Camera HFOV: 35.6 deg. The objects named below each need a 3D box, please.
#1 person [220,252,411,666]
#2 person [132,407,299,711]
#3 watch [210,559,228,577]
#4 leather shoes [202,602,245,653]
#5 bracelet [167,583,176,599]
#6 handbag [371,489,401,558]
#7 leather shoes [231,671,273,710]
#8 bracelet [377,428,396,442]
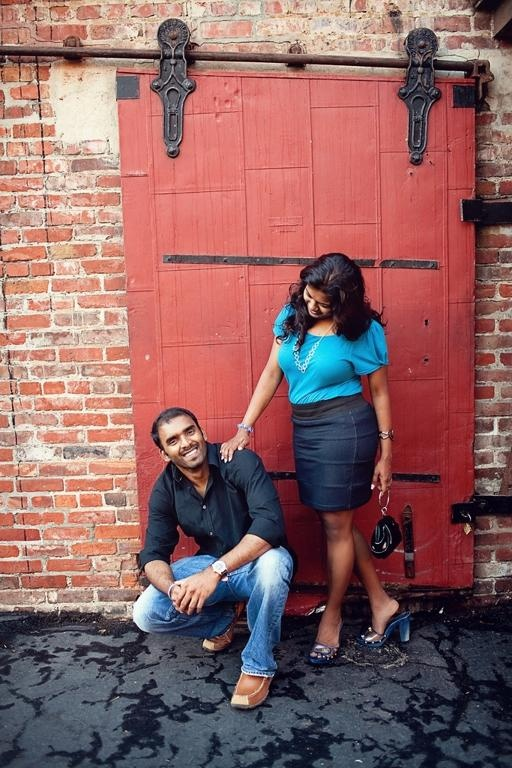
[{"bbox_3d":[0.241,0.284,3.231,0.690,1.614,0.629,0,2,5],"label":"person"},{"bbox_3d":[-0.169,0.613,3.007,0.586,1.059,0.509,-1,8,20],"label":"person"},{"bbox_3d":[-0.129,0.654,2.826,0.046,0.060,0.062,-29,53,-14],"label":"watch"},{"bbox_3d":[-0.131,1.005,3.198,0.119,0.105,0.261,18,53,16],"label":"leather shoes"},{"bbox_3d":[-0.303,0.736,2.851,0.023,0.054,0.045,12,48,-9],"label":"bracelet"},{"bbox_3d":[0.515,0.575,3.242,0.118,0.275,0.144,4,11,1],"label":"handbag"},{"bbox_3d":[-0.014,1.100,2.857,0.076,0.072,0.196,0,-4,19],"label":"leather shoes"},{"bbox_3d":[0.510,0.196,3.127,0.056,0.028,0.043,-2,-29,31],"label":"bracelet"}]
